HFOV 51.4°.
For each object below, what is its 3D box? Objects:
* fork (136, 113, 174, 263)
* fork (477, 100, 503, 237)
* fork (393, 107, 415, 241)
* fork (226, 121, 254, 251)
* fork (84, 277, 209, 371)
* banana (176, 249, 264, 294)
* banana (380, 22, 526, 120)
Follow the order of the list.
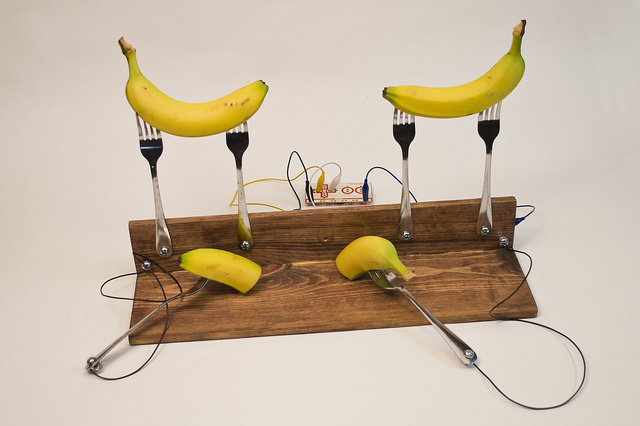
[{"bbox_3d":[-0.520,-0.059,2.092,0.063,0.035,0.481,-10,-72,-13],"label":"fork"},{"bbox_3d":[0.525,-0.137,2.080,0.052,0.036,0.452,-1,-73,-4],"label":"fork"},{"bbox_3d":[0.276,-0.130,2.191,0.058,0.037,0.466,-2,-79,-9],"label":"fork"},{"bbox_3d":[-0.265,-0.092,2.185,0.060,0.022,0.456,-4,-72,-6],"label":"fork"},{"bbox_3d":[-0.532,0.357,2.089,0.364,0.040,0.055,-40,-66,-10],"label":"fork"},{"bbox_3d":[-0.318,0.180,2.111,0.246,0.126,0.098,16,-56,-23],"label":"banana"},{"bbox_3d":[0.415,-0.394,2.049,0.435,0.238,0.238,-3,-33,0],"label":"banana"}]
